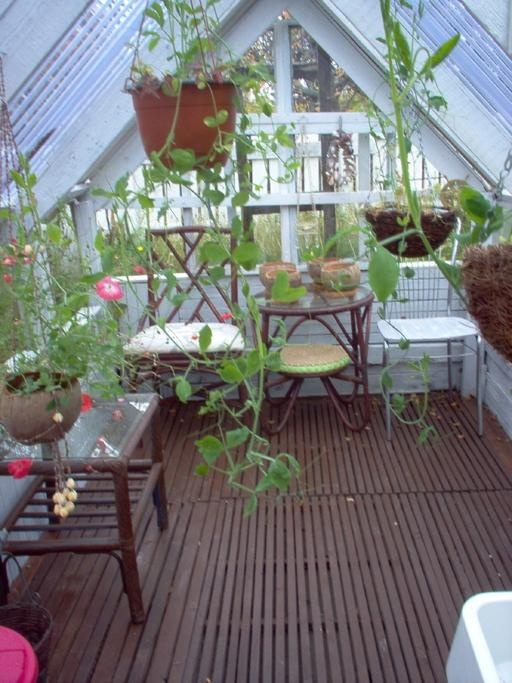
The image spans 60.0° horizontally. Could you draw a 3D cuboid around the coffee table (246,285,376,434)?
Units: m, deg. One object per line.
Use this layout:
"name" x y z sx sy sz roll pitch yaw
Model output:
"coffee table" 0.396 0.149 2.833 0.849 0.958 0.863 -1 20 4
